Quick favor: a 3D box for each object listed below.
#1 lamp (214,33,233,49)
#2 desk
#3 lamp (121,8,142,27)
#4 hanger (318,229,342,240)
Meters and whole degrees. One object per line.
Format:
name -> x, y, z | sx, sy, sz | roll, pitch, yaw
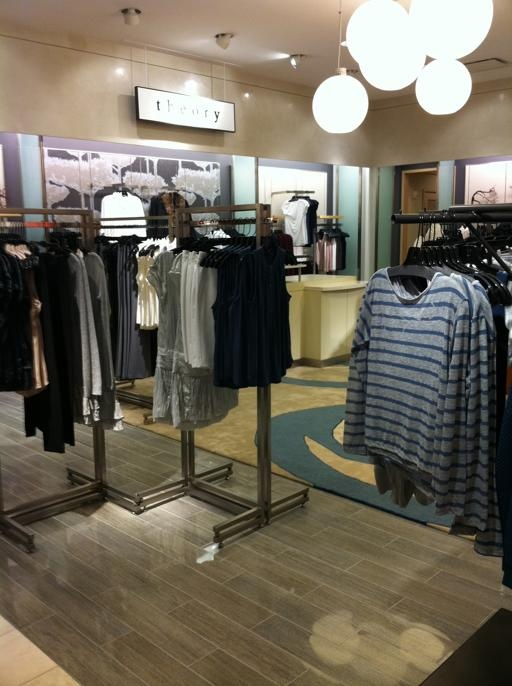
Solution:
lamp -> -0.313, -2.958, 4.921 | 0.121, 0.105, 0.113 | -3, 15, -12
desk -> 0.996, -0.290, 6.905 | 0.749, 1.047, 1.147 | 6, 10, 43
lamp -> -1.056, -2.765, 4.282 | 0.118, 0.083, 0.109 | -11, 13, -39
hanger -> 1.060, -1.577, 7.256 | 0.282, 0.209, 0.103 | -1, -17, -20
